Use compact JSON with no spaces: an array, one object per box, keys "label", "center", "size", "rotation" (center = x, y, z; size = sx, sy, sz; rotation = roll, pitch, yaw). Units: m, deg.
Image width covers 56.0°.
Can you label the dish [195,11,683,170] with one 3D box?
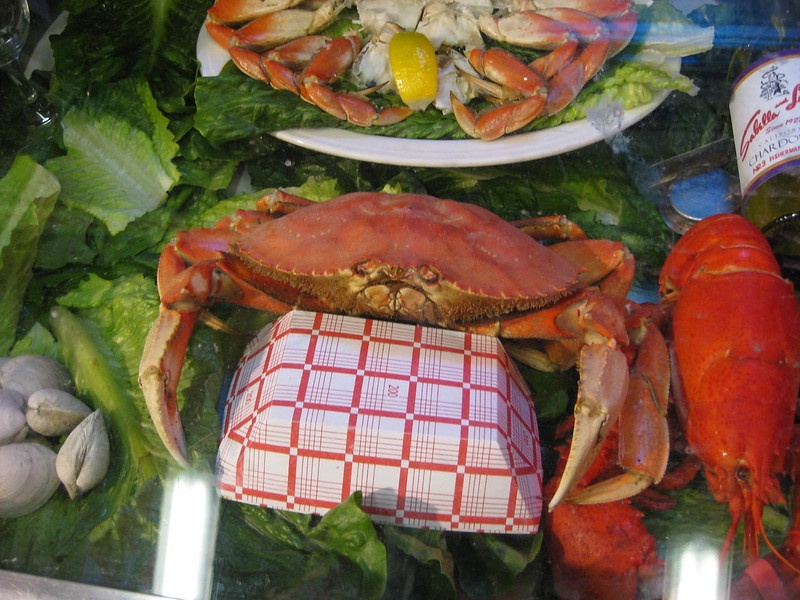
[{"label":"dish","center":[0.136,-0.493,1.679],"size":[0.583,0.369,0.473],"rotation":[18,31,19]}]

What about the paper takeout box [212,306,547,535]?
[{"label":"paper takeout box","center":[-0.026,0.210,1.298],"size":[0.497,0.369,0.170],"rotation":[4,-30,1]}]
